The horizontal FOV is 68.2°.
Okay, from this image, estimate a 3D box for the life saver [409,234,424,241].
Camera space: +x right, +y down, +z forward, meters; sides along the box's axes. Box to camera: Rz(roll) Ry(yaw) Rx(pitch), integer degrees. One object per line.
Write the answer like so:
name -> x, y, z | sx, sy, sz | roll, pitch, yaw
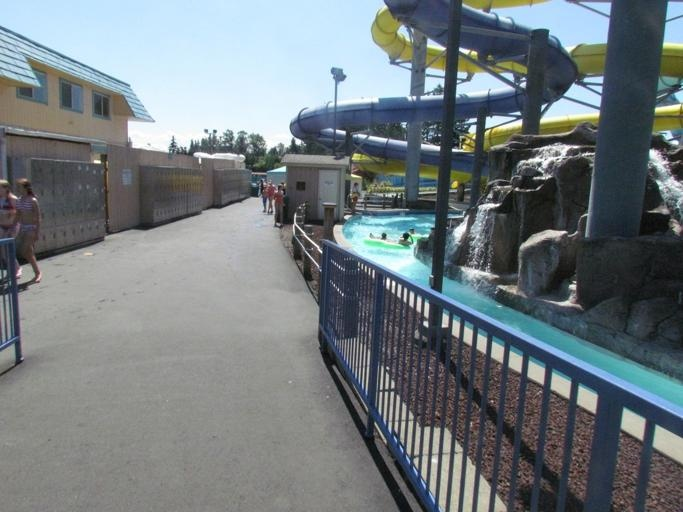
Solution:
life saver -> 3.209, -0.775, 21.693 | 0.534, 0.156, 0.608 | -2, 7, -28
